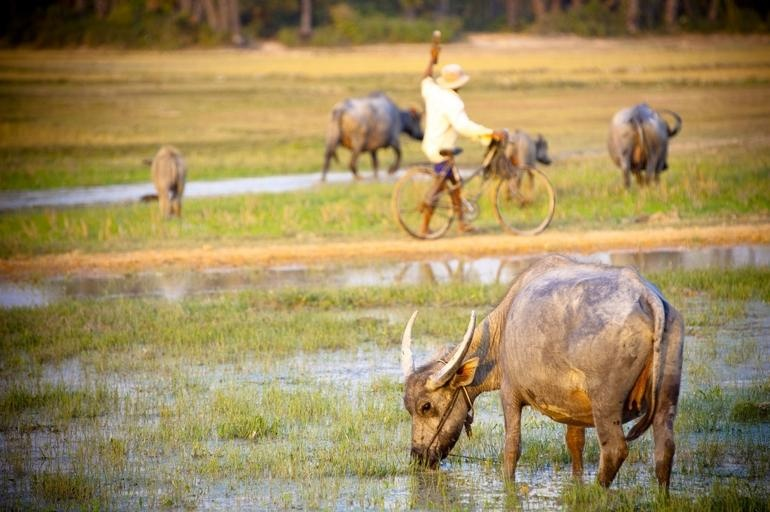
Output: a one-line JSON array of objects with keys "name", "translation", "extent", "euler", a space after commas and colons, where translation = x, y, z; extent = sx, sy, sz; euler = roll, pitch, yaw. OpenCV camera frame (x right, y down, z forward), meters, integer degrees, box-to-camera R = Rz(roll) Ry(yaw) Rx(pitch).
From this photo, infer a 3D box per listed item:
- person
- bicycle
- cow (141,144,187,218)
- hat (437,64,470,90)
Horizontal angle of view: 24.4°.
[{"name": "person", "translation": [0.886, -1.419, 21.343], "extent": [0.932, 2.375, 0.551], "euler": [2, 6, 21]}, {"name": "bicycle", "translation": [1.109, -0.668, 21.541], "extent": [1.994, 1.477, 1.016], "euler": [-7, 15, -10]}, {"name": "cow", "translation": [-2.601, -0.906, 21.808], "extent": [0.413, 0.844, 0.309], "euler": [-1, 6, -9]}, {"name": "hat", "translation": [0.823, -2.100, 21.146], "extent": [0.358, 0.292, 0.279], "euler": [-1, 7, 0]}]
